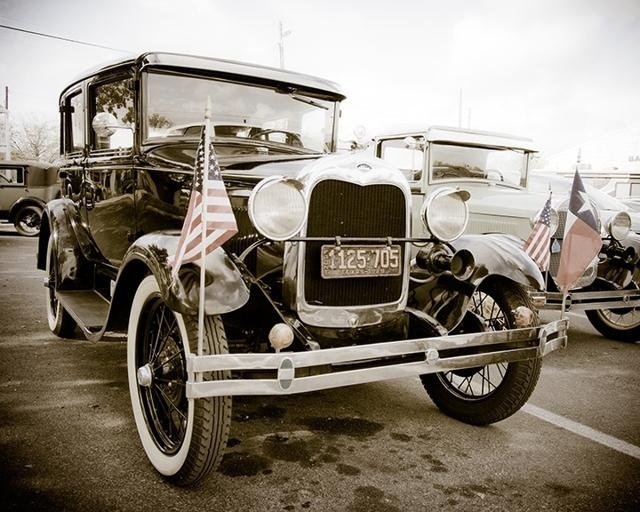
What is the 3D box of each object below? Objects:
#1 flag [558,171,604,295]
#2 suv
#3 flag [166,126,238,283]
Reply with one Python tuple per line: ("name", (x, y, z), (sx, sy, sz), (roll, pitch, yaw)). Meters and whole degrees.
("flag", (1.794, -0.145, 3.894), (0.276, 0.897, 0.055), (-2, 2, 26))
("suv", (-0.755, -0.178, 4.645), (2.266, 2.148, 4.213), (-1, 3, -31))
("flag", (-0.623, -0.267, 2.892), (0.332, 0.801, 0.343), (-2, 10, -19))
